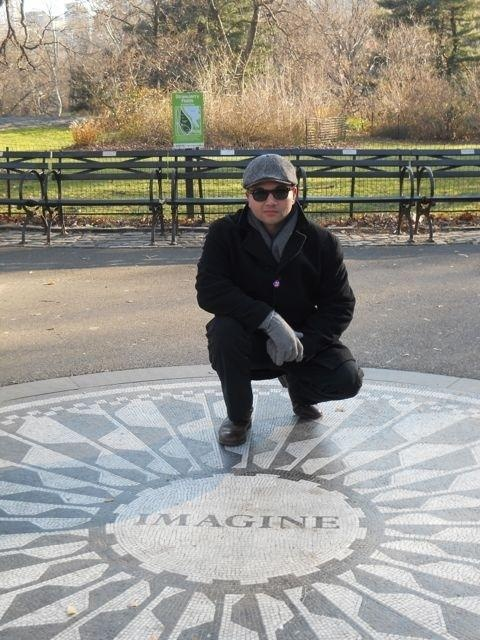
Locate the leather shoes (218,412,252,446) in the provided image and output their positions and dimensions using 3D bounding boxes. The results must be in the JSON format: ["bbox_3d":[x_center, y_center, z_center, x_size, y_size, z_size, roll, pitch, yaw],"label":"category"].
[{"bbox_3d":[-0.033,0.577,3.594,0.160,0.117,0.274,0,12,2],"label":"leather shoes"}]

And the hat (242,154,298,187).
[{"bbox_3d":[0.147,-0.764,3.449,0.274,0.172,0.242,0,12,0],"label":"hat"}]

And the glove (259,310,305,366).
[{"bbox_3d":[0.197,0.095,3.388,0.200,0.261,0.119,5,14,23],"label":"glove"}]

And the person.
[{"bbox_3d":[0.197,-0.114,3.549,0.861,1.484,0.553,-2,13,-4],"label":"person"}]
